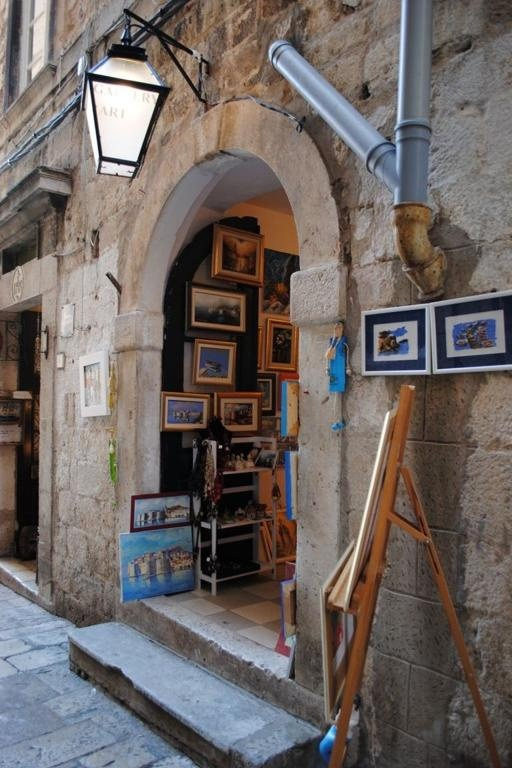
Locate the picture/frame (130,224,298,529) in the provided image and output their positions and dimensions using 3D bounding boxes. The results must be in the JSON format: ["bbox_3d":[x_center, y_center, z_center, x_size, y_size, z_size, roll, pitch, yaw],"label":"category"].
[{"bbox_3d":[0.036,-0.211,4.292,0.740,1.802,1.681,-1,-5,18],"label":"picture/frame"}]

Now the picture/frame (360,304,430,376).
[{"bbox_3d":[0.420,-0.130,1.881,0.015,0.195,0.211,0,0,-35],"label":"picture/frame"}]

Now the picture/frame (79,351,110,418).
[{"bbox_3d":[-1.033,0.005,4.008,0.111,0.395,0.530,3,-5,-25],"label":"picture/frame"}]

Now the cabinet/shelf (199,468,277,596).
[{"bbox_3d":[-0.124,0.926,3.899,0.236,0.970,0.686,1,0,43],"label":"cabinet/shelf"}]

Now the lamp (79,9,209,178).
[{"bbox_3d":[-0.465,-1.269,2.656,0.486,0.787,0.443,2,-5,-14],"label":"lamp"}]

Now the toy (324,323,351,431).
[{"bbox_3d":[0.274,-0.024,2.131,0.077,0.368,0.086,0,-5,7],"label":"toy"}]
